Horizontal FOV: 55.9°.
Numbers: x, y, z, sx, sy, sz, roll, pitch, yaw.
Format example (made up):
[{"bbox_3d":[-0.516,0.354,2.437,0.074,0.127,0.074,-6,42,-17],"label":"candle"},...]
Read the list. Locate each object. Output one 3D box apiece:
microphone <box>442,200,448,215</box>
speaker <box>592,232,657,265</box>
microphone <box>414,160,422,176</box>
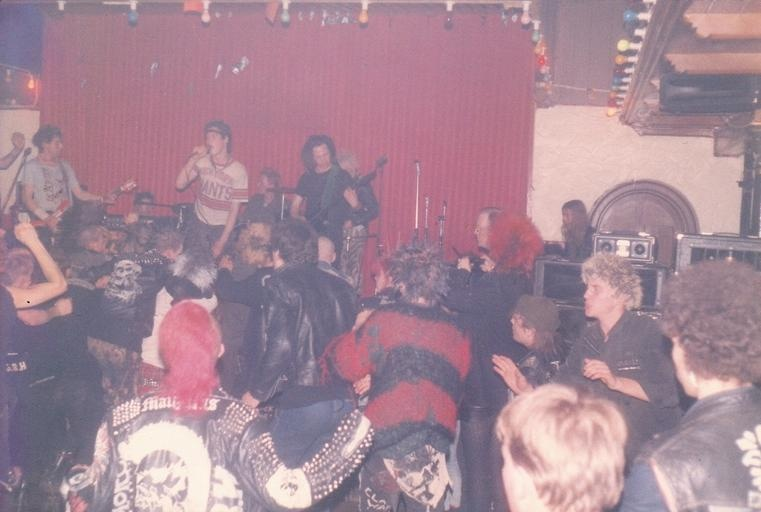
[{"bbox_3d":[0.775,-0.588,8.564,0.065,0.176,0.032,2,7,-2],"label":"microphone"},{"bbox_3d":[2.389,-0.097,7.012,0.592,0.273,0.304,5,8,18],"label":"speaker"},{"bbox_3d":[0.452,-1.058,8.562,0.134,0.180,0.149,3,1,15],"label":"microphone"}]
